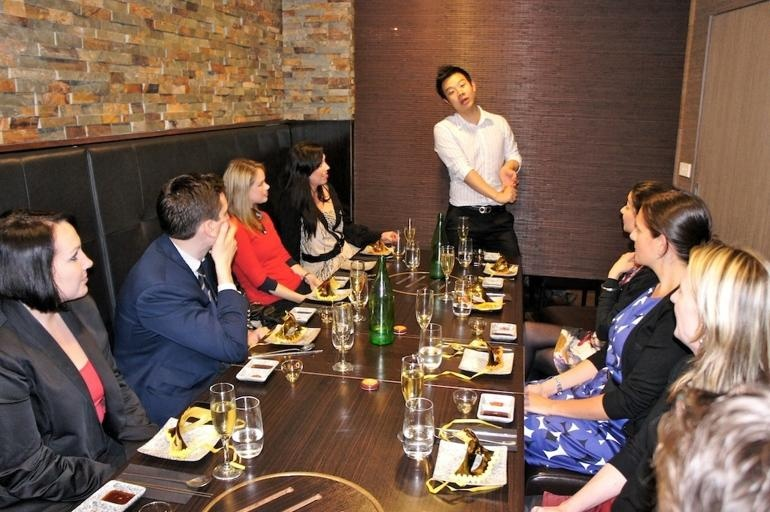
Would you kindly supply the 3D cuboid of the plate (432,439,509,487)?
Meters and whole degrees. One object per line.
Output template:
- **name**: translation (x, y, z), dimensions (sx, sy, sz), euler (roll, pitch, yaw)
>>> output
- **plate**: translation (0.281, 0.690, 1.794), dimensions (0.239, 0.073, 0.179), euler (-1, 9, 10)

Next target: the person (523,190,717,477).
- **person**: translation (1.032, 0.637, 2.648), dimensions (0.938, 1.781, 0.648), euler (-4, 18, 16)

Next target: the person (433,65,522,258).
- **person**: translation (0.770, -0.802, 4.586), dimensions (0.695, 1.586, 0.614), euler (0, 10, 14)

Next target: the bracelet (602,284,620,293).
- **bracelet**: translation (1.292, 0.186, 3.098), dimensions (0.051, 0.038, 0.051), euler (0, -1, 2)

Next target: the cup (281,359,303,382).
- **cup**: translation (-0.392, 0.480, 2.262), dimensions (0.077, 0.064, 0.080), euler (2, 7, 0)

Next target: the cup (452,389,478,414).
- **cup**: translation (0.308, 0.553, 2.057), dimensions (0.082, 0.067, 0.085), euler (1, 26, 0)

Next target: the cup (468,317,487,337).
- **cup**: translation (0.440, 0.340, 2.599), dimensions (0.075, 0.067, 0.080), euler (2, -7, 0)

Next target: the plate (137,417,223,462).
- **plate**: translation (-0.701, 0.637, 1.846), dimensions (0.162, 0.028, 0.170), euler (8, 30, 12)

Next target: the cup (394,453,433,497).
- **cup**: translation (0.090, 0.714, 1.764), dimensions (0.114, 0.052, 0.156), euler (-1, 9, 9)

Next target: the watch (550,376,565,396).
- **watch**: translation (0.851, 0.647, 2.678), dimensions (0.049, 0.083, 0.088), euler (5, 52, -6)

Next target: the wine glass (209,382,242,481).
- **wine glass**: translation (-0.533, 0.573, 1.786), dimensions (0.092, 0.272, 0.175), euler (-6, 10, -17)

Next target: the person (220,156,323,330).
- **person**: translation (-0.732, -0.123, 3.705), dimensions (0.750, 0.942, 0.618), euler (12, 20, 26)

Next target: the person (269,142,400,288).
- **person**: translation (-0.346, -0.336, 4.263), dimensions (1.034, 1.045, 0.795), euler (-15, 33, -24)
